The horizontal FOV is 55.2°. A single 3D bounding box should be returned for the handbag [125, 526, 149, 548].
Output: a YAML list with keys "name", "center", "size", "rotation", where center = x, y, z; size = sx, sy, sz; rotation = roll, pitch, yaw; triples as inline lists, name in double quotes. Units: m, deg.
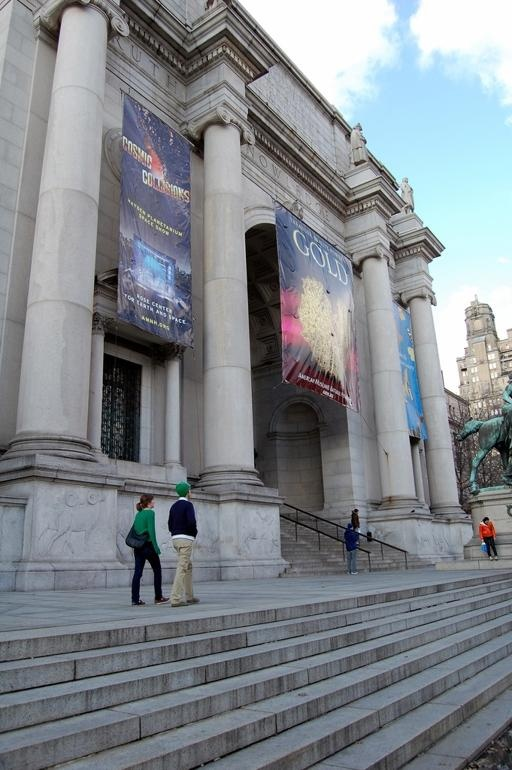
- name: "handbag"
  center: [-1.534, 1.909, 6.095]
  size: [0.358, 0.266, 0.193]
  rotation: [-16, -19, 42]

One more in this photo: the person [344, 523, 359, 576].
- name: "person"
  center: [2.907, 5.005, 15.063]
  size: [0.365, 1.452, 1.955]
  rotation: [-5, -14, 9]

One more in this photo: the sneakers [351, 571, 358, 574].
- name: "sneakers"
  center: [2.867, 5.490, 14.314]
  size: [0.266, 0.125, 0.091]
  rotation: [10, -19, -29]

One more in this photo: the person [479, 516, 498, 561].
- name: "person"
  center: [8.522, 5.614, 18.038]
  size: [0.490, 1.394, 2.065]
  rotation: [-9, -15, 23]

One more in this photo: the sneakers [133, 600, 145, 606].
- name: "sneakers"
  center: [-1.360, 2.516, 5.651]
  size: [0.135, 0.074, 0.058]
  rotation: [2, -17, -3]

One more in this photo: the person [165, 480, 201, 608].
- name: "person"
  center: [-0.929, 1.965, 6.132]
  size: [0.346, 1.477, 0.922]
  rotation: [0, -14, -11]
